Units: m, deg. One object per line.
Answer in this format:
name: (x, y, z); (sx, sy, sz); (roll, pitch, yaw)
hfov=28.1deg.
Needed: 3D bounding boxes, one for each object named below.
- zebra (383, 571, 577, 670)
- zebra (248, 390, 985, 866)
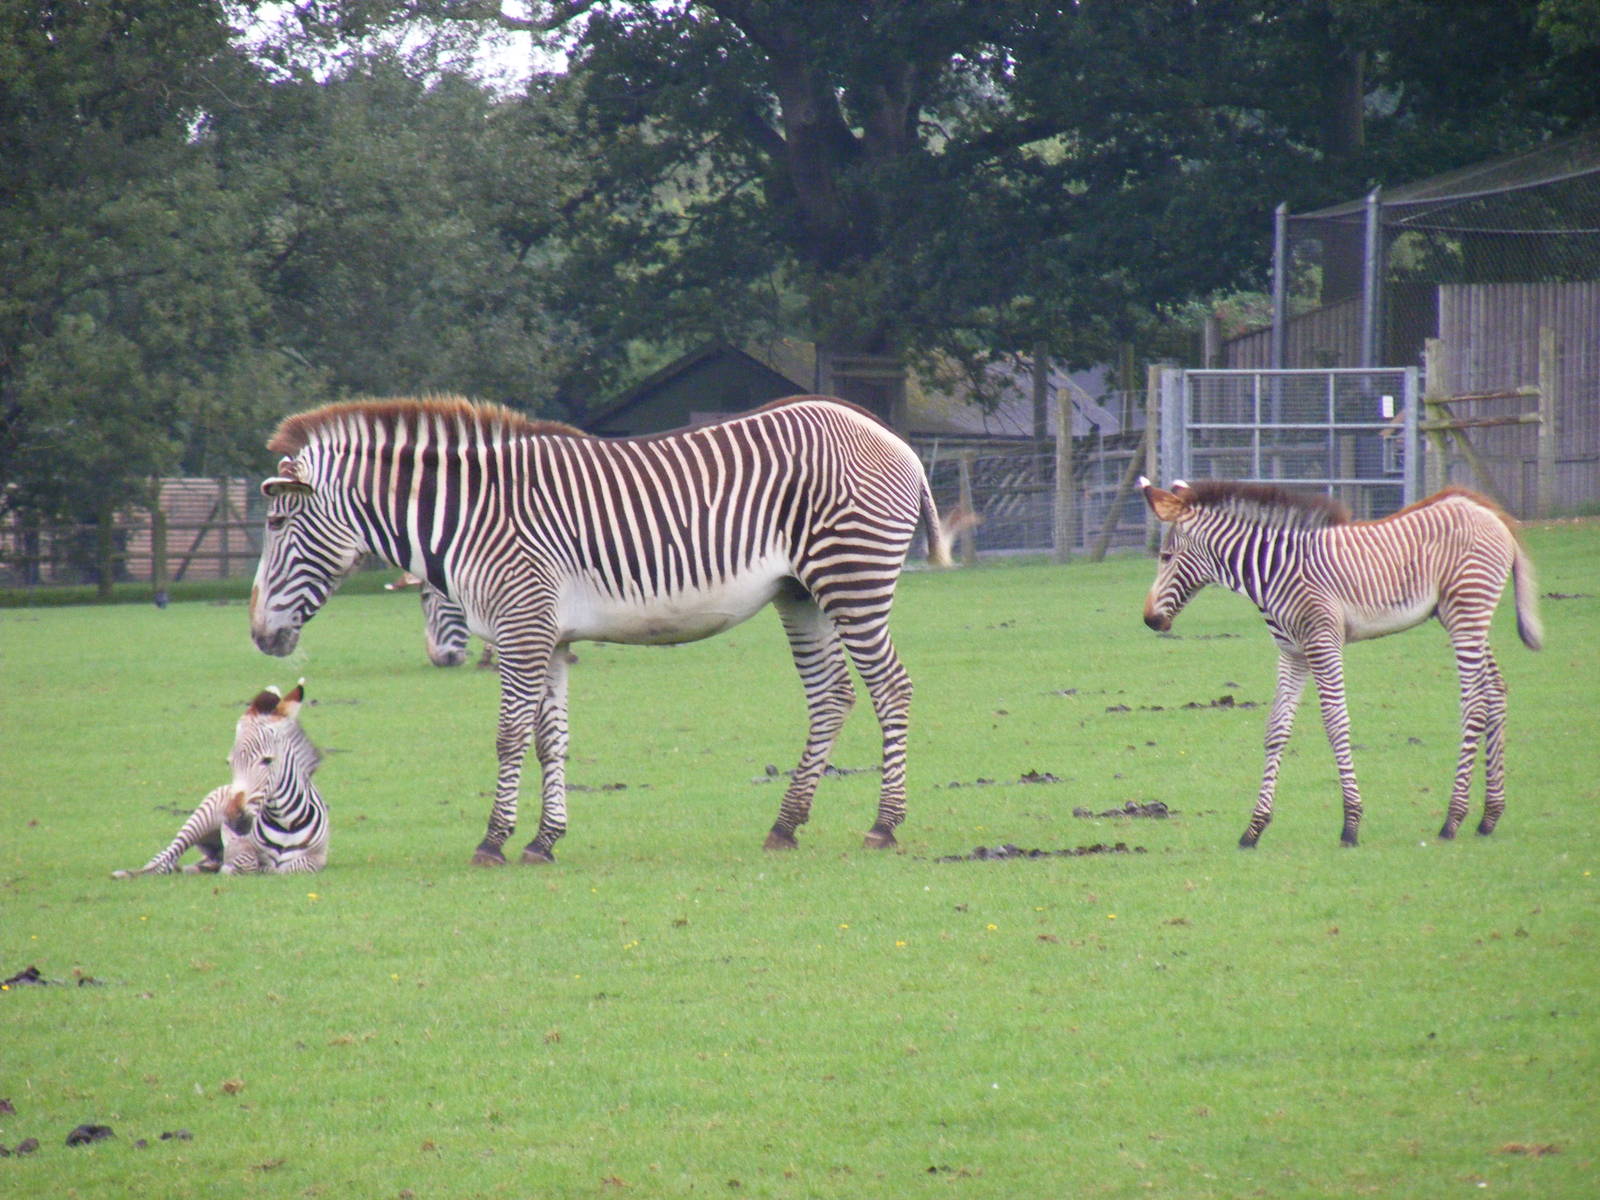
zebra: (-4.880, 0.312, 49.951); (3.032, 2.264, 0.880); (-3, 15, 20)
zebra: (-2.796, 0.305, 42.305); (9.075, 6.314, 2.619); (-4, 1, -7)
